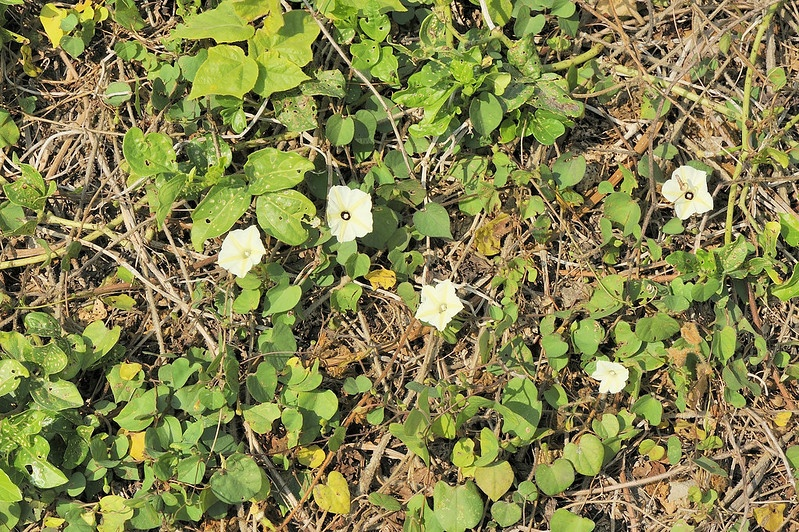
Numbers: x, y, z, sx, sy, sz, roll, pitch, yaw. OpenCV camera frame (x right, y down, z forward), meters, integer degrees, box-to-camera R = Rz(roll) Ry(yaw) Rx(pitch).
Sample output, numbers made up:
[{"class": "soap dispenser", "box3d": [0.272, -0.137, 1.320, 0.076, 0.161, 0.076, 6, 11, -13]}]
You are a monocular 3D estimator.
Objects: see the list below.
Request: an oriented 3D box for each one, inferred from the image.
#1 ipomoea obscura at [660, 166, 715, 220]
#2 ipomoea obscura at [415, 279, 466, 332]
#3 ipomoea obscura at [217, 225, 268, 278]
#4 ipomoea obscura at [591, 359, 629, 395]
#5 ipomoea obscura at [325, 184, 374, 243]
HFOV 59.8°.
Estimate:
[{"class": "ipomoea obscura", "box3d": [1.095, -0.282, 2.647, 0.189, 0.079, 0.196, -30, 99, 8]}, {"class": "ipomoea obscura", "box3d": [0.154, 0.143, 2.630, 0.159, 0.071, 0.177, 22, 72, 6]}, {"class": "ipomoea obscura", "box3d": [-0.599, -0.046, 2.620, 0.165, 0.066, 0.196, 4, 88, 7]}, {"class": "ipomoea obscura", "box3d": [0.817, 0.436, 2.686, 0.158, 0.127, 0.115, 13, 71, 3]}, {"class": "ipomoea obscura", "box3d": [-0.188, -0.204, 2.634, 0.169, 0.102, 0.186, -9, 72, -5]}]
